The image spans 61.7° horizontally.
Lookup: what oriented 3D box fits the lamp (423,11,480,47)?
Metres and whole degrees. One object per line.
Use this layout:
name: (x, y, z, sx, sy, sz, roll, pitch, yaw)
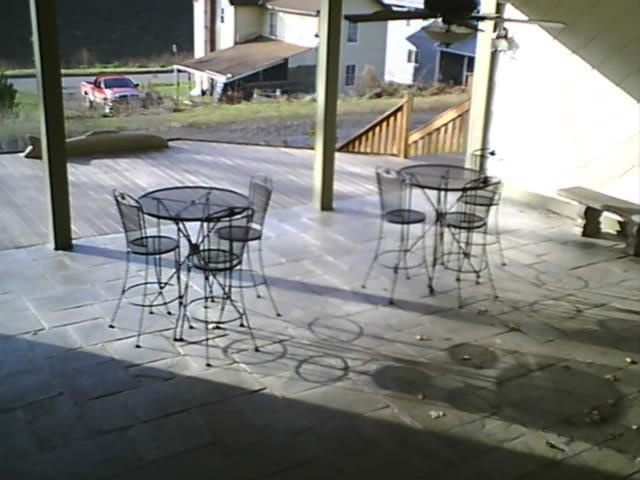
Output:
lamp: (1.082, -1.739, 4.395, 0.329, 0.152, 0.290, -7, 30, -11)
